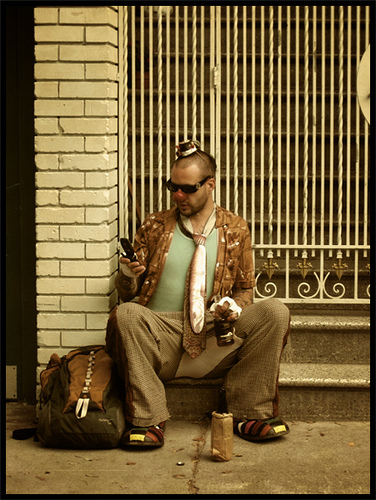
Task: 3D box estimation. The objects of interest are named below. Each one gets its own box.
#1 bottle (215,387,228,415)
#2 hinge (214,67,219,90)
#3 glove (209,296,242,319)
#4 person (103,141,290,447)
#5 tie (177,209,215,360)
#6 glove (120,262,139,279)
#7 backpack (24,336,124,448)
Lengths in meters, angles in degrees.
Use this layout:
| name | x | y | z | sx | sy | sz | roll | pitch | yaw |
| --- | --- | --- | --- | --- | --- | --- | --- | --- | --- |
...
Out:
| name | x | y | z | sx | sy | sz | roll | pitch | yaw |
| --- | --- | --- | --- | --- | --- | --- | --- | --- | --- |
| bottle | 0.166 | 0.735 | 4.798 | 0.055 | 0.100 | 0.117 | 1 | -1 | 1 |
| hinge | 0.172 | -1.023 | 5.925 | 0.028 | 0.100 | 0.036 | 1 | 0 | 2 |
| glove | 0.200 | 0.290 | 5.076 | 0.124 | 0.048 | 0.109 | -17 | 3 | -8 |
| person | 0.075 | 0.214 | 5.279 | 0.921 | 1.648 | 0.953 | -1 | -7 | 10 |
| tie | 0.040 | 0.166 | 5.330 | 0.207 | 0.851 | 0.079 | 1 | -26 | 2 |
| glove | -0.312 | 0.116 | 5.172 | 0.079 | 0.071 | 0.155 | 1 | -1 | -4 |
| backpack | -0.560 | 0.736 | 5.146 | 0.428 | 0.477 | 0.435 | 1 | -1 | -7 |
